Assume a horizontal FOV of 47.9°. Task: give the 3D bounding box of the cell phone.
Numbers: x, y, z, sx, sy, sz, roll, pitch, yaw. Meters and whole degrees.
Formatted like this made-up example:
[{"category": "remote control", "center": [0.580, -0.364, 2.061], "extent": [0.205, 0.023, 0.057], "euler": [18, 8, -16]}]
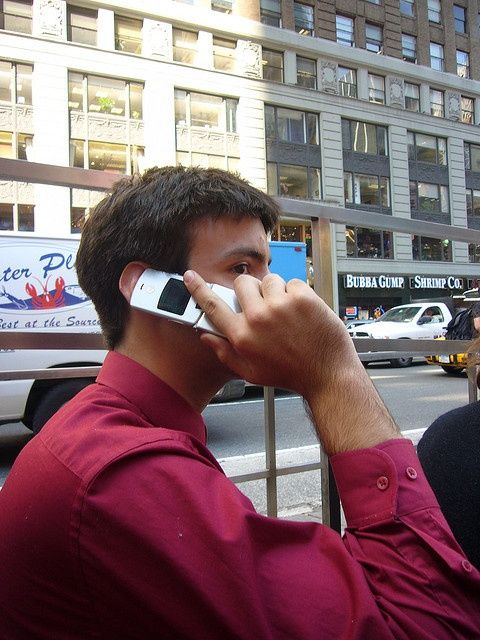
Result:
[{"category": "cell phone", "center": [-0.107, -0.034, 1.145], "extent": [0.232, 0.113, 0.056], "euler": [17, -17, 5]}]
